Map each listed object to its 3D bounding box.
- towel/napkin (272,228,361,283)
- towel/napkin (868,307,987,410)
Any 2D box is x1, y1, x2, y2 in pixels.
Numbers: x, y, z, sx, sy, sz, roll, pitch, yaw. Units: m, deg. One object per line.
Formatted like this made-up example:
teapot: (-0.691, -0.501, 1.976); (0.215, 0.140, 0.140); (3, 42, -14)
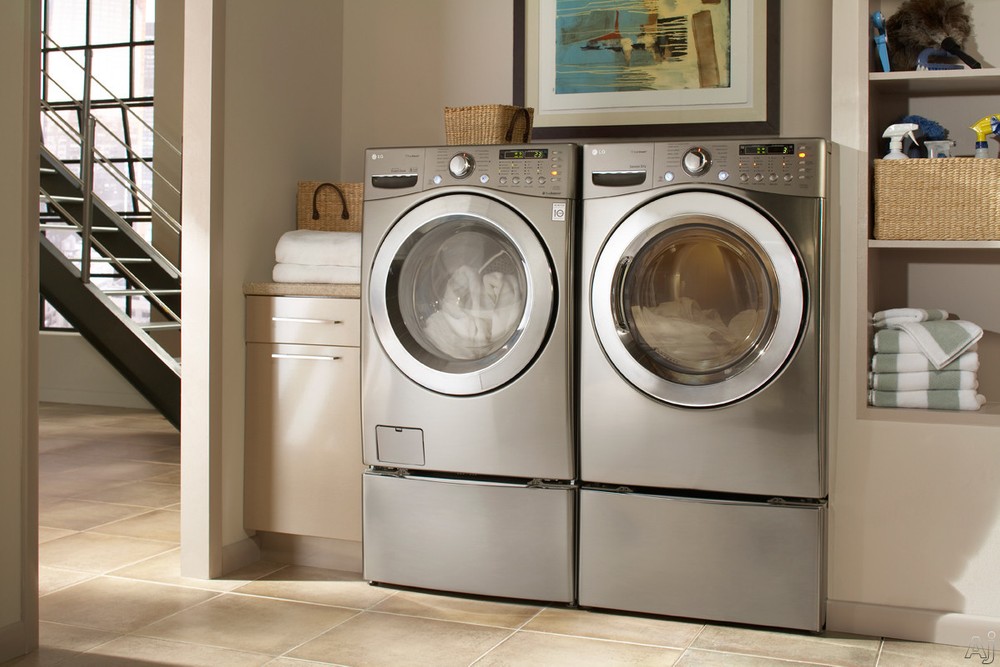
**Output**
towel/napkin: (-0.736, -0.331, 3.487); (0.438, 0.221, 0.198); (3, 7, 17)
towel/napkin: (1.546, 0.085, 3.074); (0.376, 0.282, 0.425); (-2, 2, 12)
